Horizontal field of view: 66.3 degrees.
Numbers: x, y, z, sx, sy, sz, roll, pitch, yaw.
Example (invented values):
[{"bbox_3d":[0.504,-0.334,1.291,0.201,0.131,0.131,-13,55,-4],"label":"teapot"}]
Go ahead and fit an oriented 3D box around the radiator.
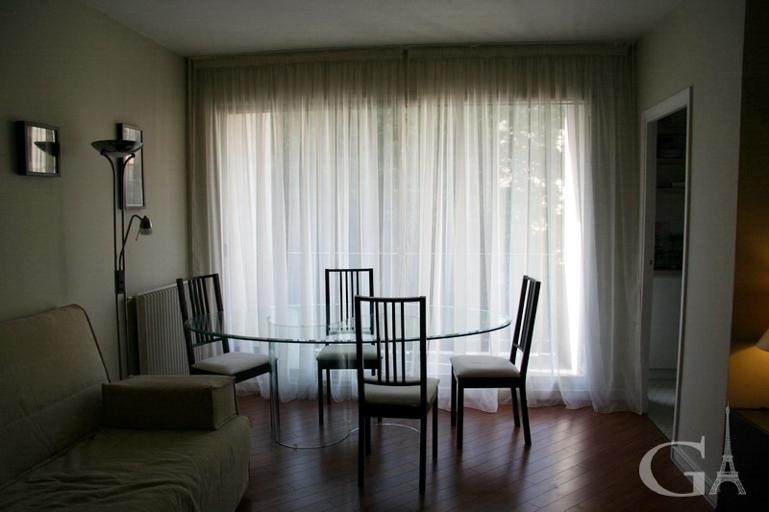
[{"bbox_3d":[-1.991,0.623,5.322,0.124,0.932,0.884,-5,-1,14],"label":"radiator"}]
